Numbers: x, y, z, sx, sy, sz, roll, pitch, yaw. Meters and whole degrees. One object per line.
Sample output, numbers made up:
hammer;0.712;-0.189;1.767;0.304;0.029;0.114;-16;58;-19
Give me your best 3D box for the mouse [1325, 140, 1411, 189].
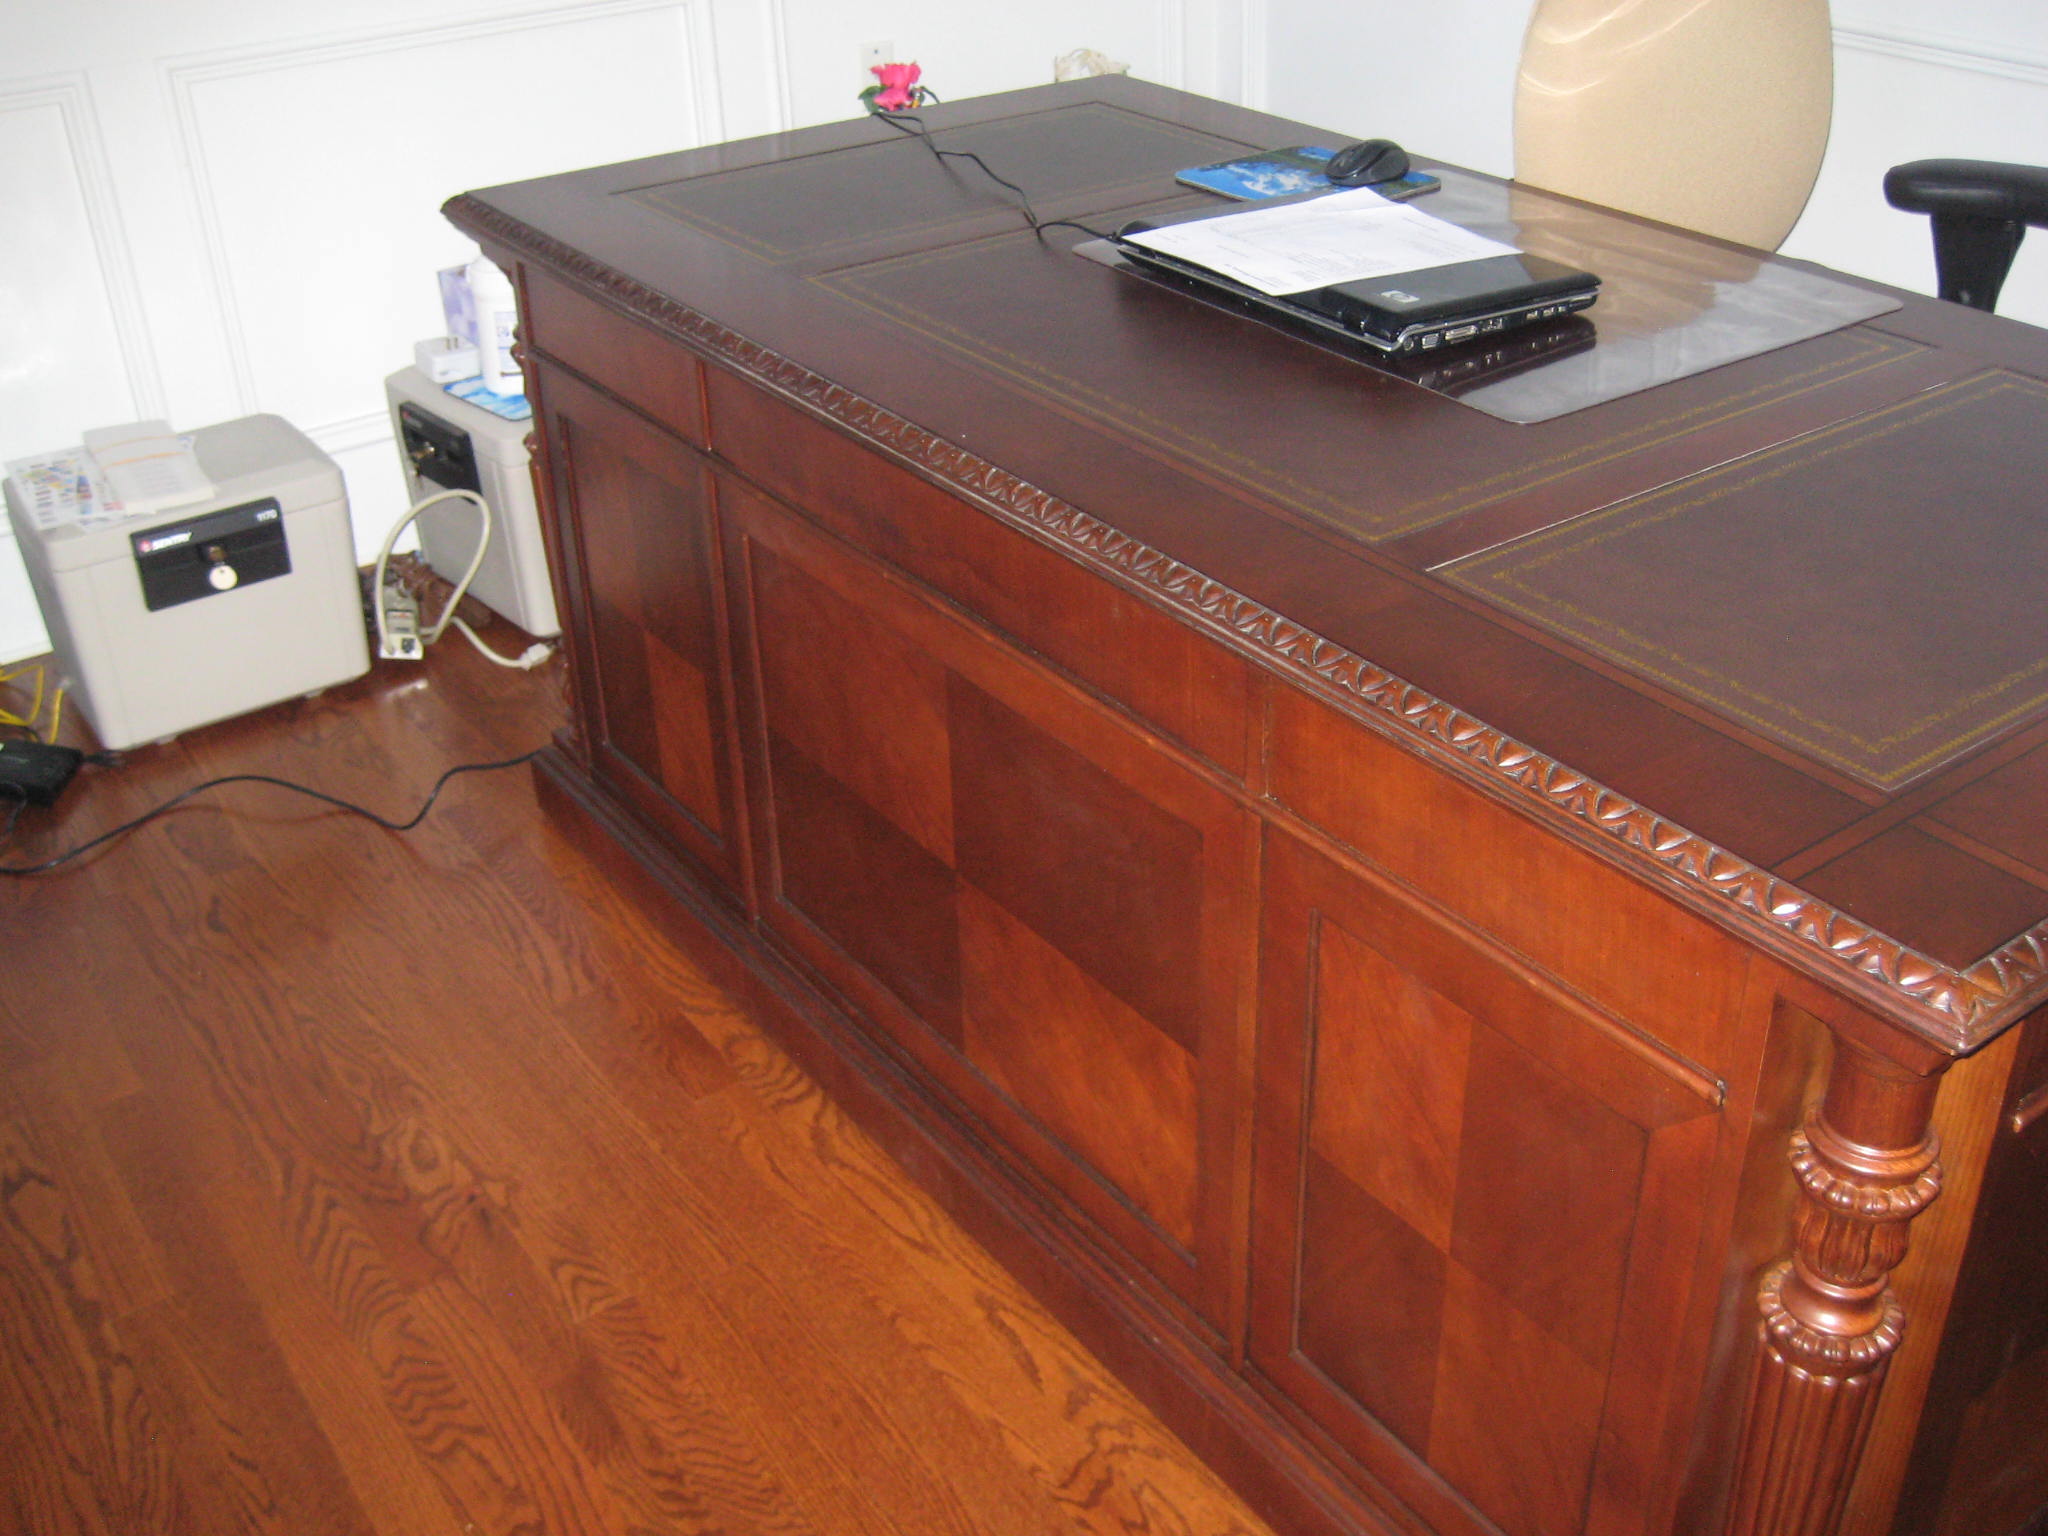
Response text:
mouse;0.445;-0.779;2.016;0.104;0.035;0.074;-26;42;-28
